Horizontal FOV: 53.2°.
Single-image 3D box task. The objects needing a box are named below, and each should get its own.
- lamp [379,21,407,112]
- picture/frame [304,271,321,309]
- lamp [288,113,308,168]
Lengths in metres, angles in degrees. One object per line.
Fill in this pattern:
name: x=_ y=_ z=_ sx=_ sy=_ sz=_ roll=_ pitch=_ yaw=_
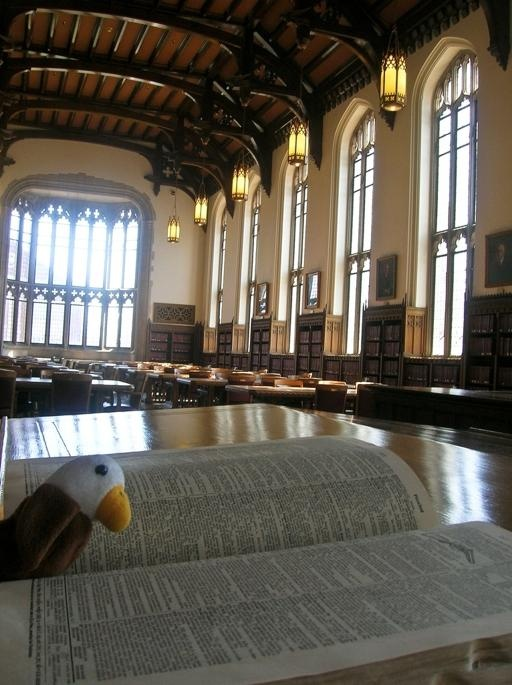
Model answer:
lamp: x=1.543 y=-3.065 z=5.650 sx=0.241 sy=0.896 sz=0.229 roll=1 pitch=2 yaw=18
picture/frame: x=1.343 y=-1.206 z=11.982 sx=0.077 sy=1.095 sz=0.818 roll=4 pitch=-6 yaw=-24
lamp: x=0.566 y=-2.792 z=6.993 sx=0.317 sy=0.853 sz=0.265 roll=4 pitch=-8 yaw=-11
